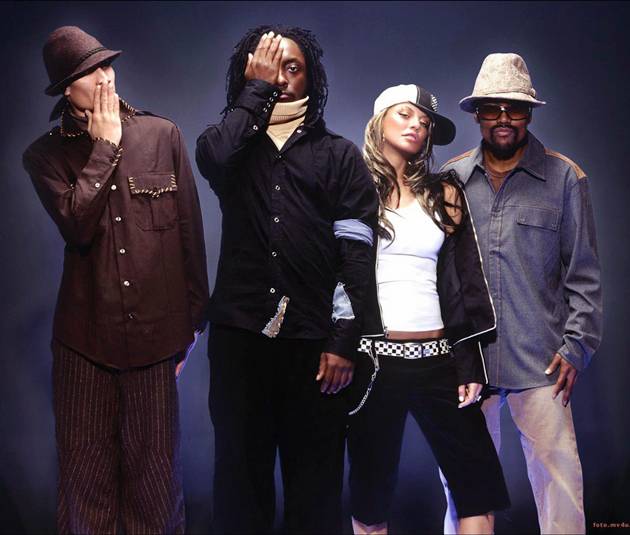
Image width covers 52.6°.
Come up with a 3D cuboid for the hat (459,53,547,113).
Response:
[{"bbox_3d":[0.927,-0.839,3.074,0.306,0.188,0.298,-4,-6,41],"label":"hat"}]

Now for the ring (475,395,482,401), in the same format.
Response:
[{"bbox_3d":[0.731,0.584,2.858,0.030,0.008,0.031,-34,-11,-7],"label":"ring"}]

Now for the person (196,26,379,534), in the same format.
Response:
[{"bbox_3d":[-0.125,0.022,2.669,0.759,2.064,0.506,2,5,-13],"label":"person"}]

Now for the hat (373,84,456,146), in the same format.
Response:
[{"bbox_3d":[0.512,-0.764,3.168,0.357,0.204,0.276,25,-6,18],"label":"hat"}]

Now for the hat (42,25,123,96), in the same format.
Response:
[{"bbox_3d":[-0.992,-0.874,2.644,0.286,0.153,0.273,-35,16,35],"label":"hat"}]
